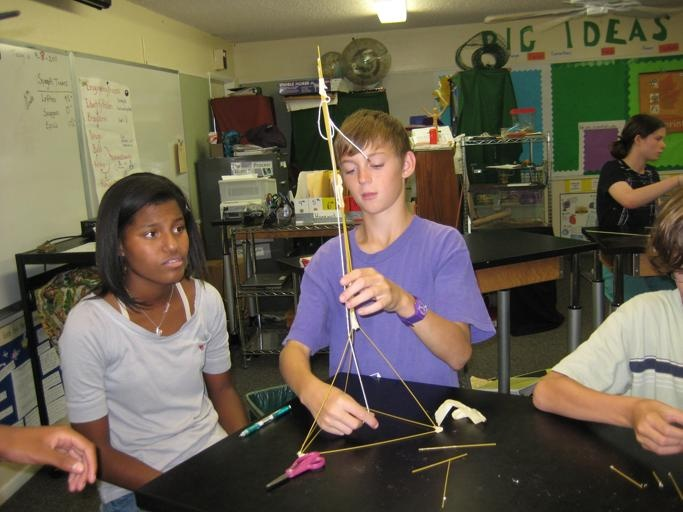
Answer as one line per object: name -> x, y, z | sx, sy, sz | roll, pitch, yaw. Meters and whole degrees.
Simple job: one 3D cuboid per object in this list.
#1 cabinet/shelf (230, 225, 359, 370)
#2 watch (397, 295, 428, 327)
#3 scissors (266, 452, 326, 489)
cabinet/shelf -> -0.315, 0.233, 3.148 | 0.941, 0.942, 0.372 | 0, 12, -2
watch -> 0.211, 0.167, 1.652 | 0.070, 0.042, 0.084 | -45, 4, -36
scissors -> -0.100, 0.524, 1.419 | 0.141, 0.017, 0.057 | -16, 24, -41
